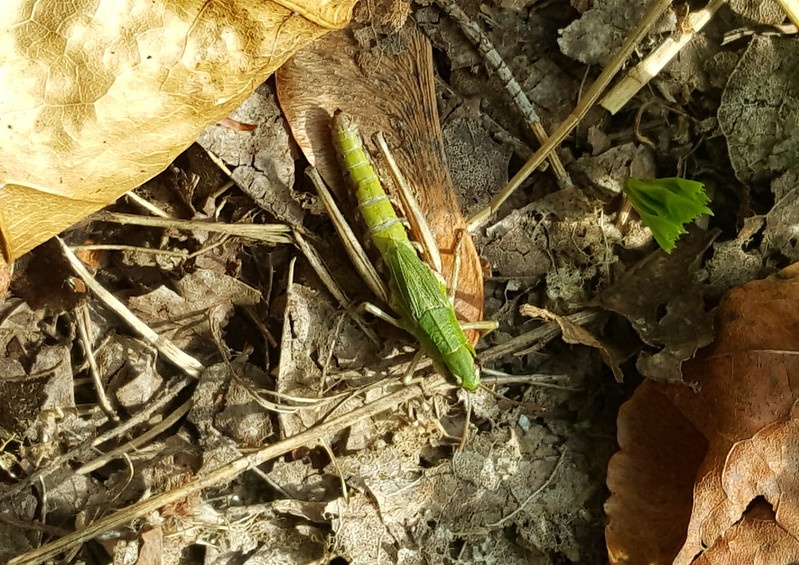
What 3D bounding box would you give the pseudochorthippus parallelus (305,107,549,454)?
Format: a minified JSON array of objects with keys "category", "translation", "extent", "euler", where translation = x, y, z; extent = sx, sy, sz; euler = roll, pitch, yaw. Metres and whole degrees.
[{"category":"pseudochorthippus parallelus","translation":[0.038,-0.022,1.742],"extent":[0.323,0.635,0.165],"euler":[-26,12,5]}]
